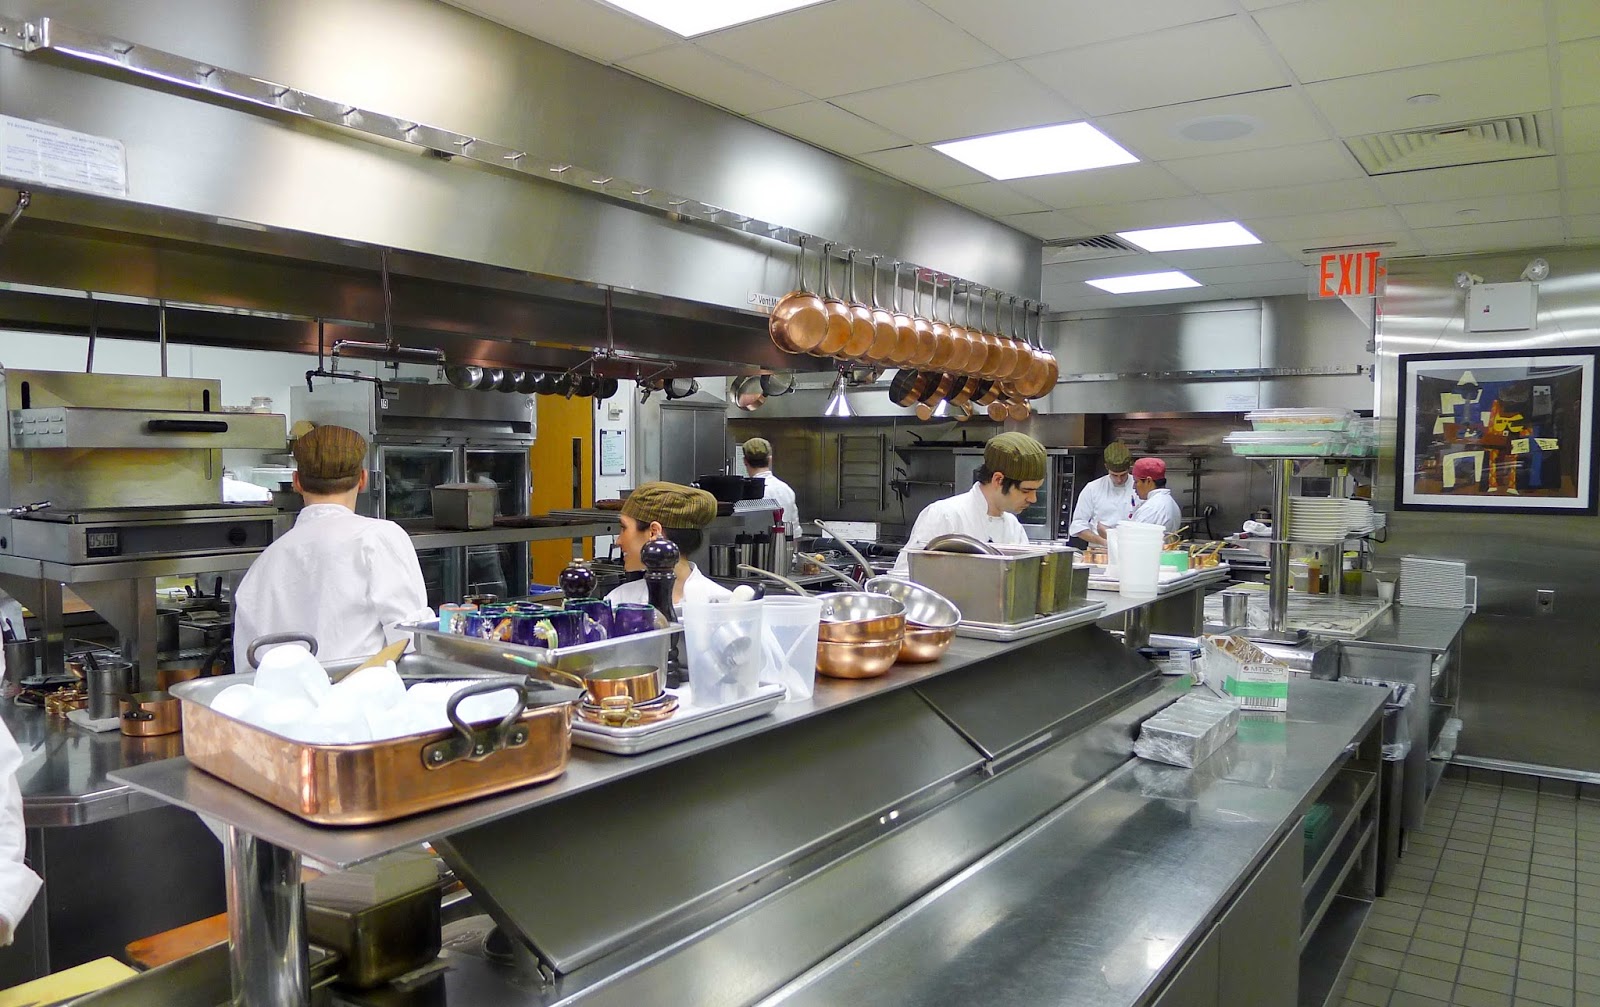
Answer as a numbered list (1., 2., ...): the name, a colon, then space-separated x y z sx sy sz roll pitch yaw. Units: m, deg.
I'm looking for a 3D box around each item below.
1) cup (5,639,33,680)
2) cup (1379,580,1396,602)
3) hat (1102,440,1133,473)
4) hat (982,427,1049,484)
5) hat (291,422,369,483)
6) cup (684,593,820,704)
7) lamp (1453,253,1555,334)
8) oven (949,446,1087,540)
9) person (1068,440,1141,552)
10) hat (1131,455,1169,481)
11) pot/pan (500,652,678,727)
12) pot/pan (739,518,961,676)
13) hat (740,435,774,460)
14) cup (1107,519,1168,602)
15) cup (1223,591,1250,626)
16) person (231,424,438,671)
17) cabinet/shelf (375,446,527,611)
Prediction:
1. cup: -2.909 0.577 3.933 0.084 0.141 0.097 -4 16 -30
2. cup: 3.459 0.516 6.227 0.083 0.113 0.235 11 15 28
3. hat: 2.327 -0.344 7.756 0.187 0.092 0.242 3 16 13
4. hat: 0.927 -0.196 4.585 0.261 0.211 0.237 7 14 14
5. hat: -1.670 -0.173 3.724 0.210 0.212 0.241 0 7 -16
6. cup: -0.117 0.365 2.648 0.243 0.223 0.364 -3 -4 43
7. lamp: 4.175 -1.236 6.313 0.558 0.404 0.105 -3 9 6
8. oven: 1.715 -0.132 8.620 0.972 0.782 0.610 -3 15 -3
9. person: 2.358 0.069 7.909 0.685 0.949 0.555 0 8 14
10. hat: 2.400 -0.247 7.354 0.190 0.154 0.221 -9 20 -35
11. pot/pan: -0.467 0.429 2.504 0.290 0.081 0.194 1 3 -9
12. pot/pan: 0.119 0.274 3.055 0.475 0.168 0.346 25 31 38
13. hat: -0.293 -0.360 7.050 0.220 0.200 0.251 3 -1 -1
14. cup: 1.260 0.213 3.946 0.306 0.279 0.276 4 3 16
15. cup: 2.203 0.532 5.335 0.129 0.152 0.163 4 13 2
16. person: -1.631 0.183 3.647 0.665 0.874 0.378 1 14 -12
17. cabinet/shelf: -2.363 0.191 7.222 0.963 1.339 0.474 -4 12 -25
